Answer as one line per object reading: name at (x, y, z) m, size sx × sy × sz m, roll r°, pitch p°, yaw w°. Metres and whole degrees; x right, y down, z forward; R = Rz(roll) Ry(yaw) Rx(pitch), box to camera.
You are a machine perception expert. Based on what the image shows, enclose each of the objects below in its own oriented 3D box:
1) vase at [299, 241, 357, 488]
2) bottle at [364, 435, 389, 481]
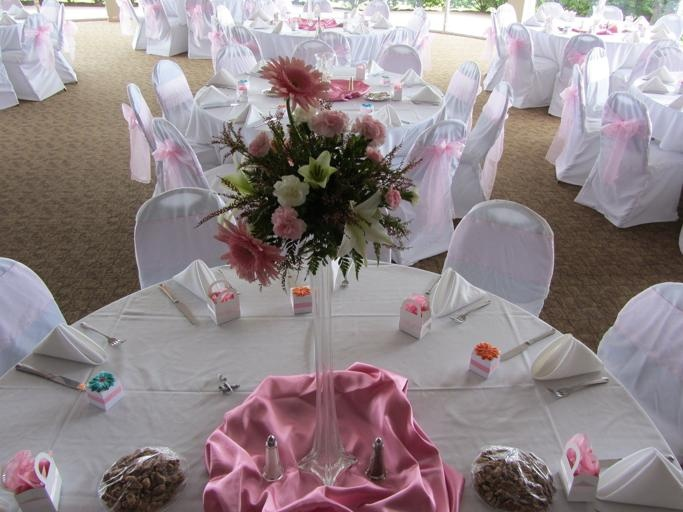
vase at (-0.055, 0.339, 1.631) m, size 0.193 × 0.712 × 0.391 m, roll -3°, pitch 33°, yaw -7°
bottle at (0.122, 0.676, 1.691) m, size 0.088 × 0.163 × 0.085 m, roll 4°, pitch 29°, yaw -2°
